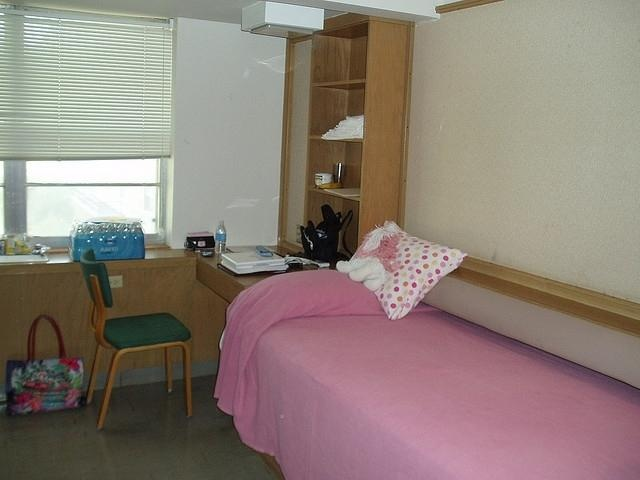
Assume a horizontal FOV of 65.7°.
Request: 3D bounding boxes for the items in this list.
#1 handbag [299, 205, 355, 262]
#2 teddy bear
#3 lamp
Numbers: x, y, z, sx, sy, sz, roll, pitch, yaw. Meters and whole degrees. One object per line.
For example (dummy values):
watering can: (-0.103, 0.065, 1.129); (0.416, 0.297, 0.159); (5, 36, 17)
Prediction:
handbag: (0.035, -0.044, 3.412); (0.409, 0.455, 0.303); (3, 2, -31)
teddy bear: (0.336, 0.045, 3.029); (0.341, 0.113, 0.467); (2, 41, 13)
lamp: (-0.234, -1.318, 2.978); (0.424, 0.155, 0.351); (-1, 13, -22)
